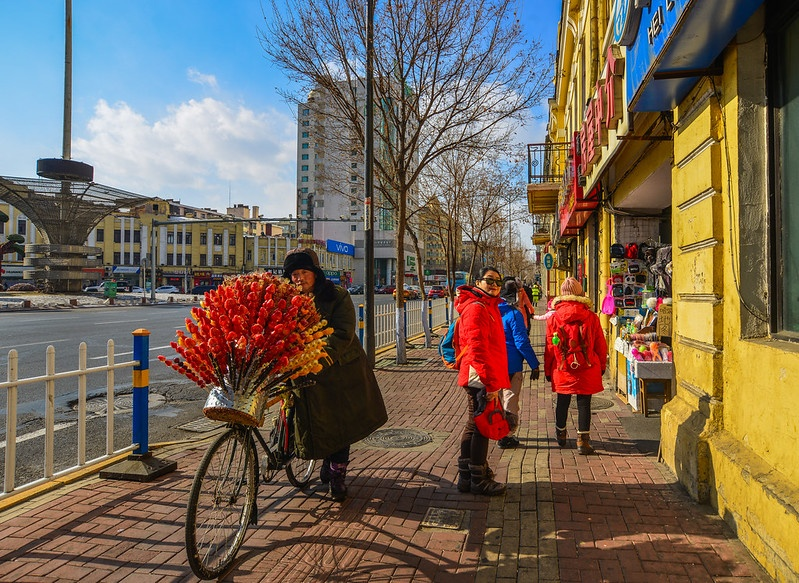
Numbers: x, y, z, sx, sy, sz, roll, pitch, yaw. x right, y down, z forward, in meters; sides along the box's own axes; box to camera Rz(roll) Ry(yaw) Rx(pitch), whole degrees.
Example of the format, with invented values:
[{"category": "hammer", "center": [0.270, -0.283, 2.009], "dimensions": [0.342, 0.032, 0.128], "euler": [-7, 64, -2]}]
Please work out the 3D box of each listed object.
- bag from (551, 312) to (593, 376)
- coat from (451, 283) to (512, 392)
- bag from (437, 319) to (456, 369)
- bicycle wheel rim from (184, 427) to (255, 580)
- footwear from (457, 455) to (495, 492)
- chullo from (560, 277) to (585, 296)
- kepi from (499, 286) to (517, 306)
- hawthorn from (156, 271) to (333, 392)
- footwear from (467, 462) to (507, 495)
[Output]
[{"category": "bag", "center": [1.913, 0.578, 6.980], "dimensions": [0.451, 0.584, 0.333], "euler": [-2, 0, 12]}, {"category": "coat", "center": [0.764, 0.433, 5.911], "dimensions": [0.492, 0.926, 0.653], "euler": [0, 8, 5]}, {"category": "bag", "center": [0.508, 0.505, 6.417], "dimensions": [0.257, 0.509, 0.457], "euler": [-4, 1, -1]}, {"category": "bicycle wheel rim", "center": [-1.364, 1.655, 4.835], "dimensions": [0.204, 0.983, 0.979], "euler": [4, 8, 23]}, {"category": "footwear", "center": [0.633, 1.699, 5.960], "dimensions": [0.471, 0.374, 0.184], "euler": [-4, 6, 2]}, {"category": "chullo", "center": [1.967, -0.074, 7.238], "dimensions": [0.181, 0.236, 0.256], "euler": [1, 23, 24]}, {"category": "kepi", "center": [1.469, 0.054, 8.612], "dimensions": [0.225, 0.315, 0.175], "euler": [-2, -5, 26]}, {"category": "hawthorn", "center": [-1.158, 0.303, 5.229], "dimensions": [0.934, 0.780, 1.043], "euler": [2, 2, 1]}, {"category": "footwear", "center": [0.778, 1.733, 5.911], "dimensions": [0.407, 0.335, 0.188], "euler": [0, 0, -3]}]
